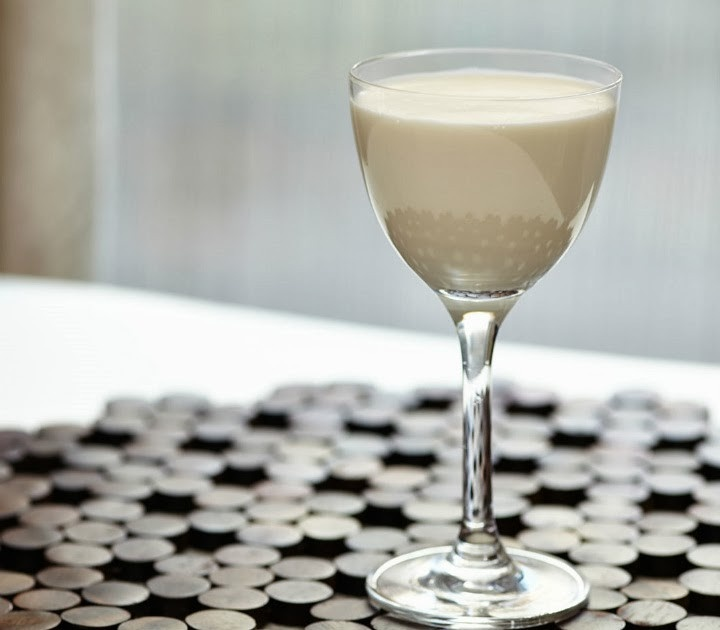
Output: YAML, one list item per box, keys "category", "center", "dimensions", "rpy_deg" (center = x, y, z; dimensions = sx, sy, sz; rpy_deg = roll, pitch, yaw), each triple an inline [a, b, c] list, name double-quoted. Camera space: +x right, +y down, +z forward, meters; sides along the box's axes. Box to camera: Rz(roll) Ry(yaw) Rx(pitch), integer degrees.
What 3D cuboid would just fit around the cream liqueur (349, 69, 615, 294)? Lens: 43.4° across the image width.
- category: "cream liqueur"
  center: [0.077, -0.084, 0.562]
  dimensions: [0.160, 0.134, 0.175]
  rpy_deg: [4, 20, 13]
